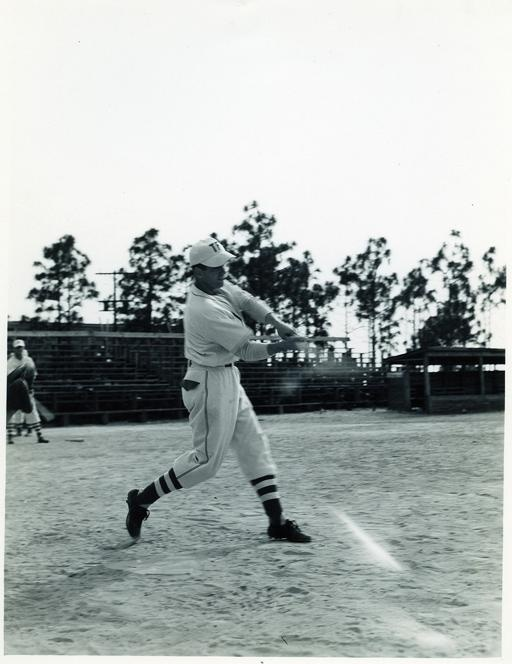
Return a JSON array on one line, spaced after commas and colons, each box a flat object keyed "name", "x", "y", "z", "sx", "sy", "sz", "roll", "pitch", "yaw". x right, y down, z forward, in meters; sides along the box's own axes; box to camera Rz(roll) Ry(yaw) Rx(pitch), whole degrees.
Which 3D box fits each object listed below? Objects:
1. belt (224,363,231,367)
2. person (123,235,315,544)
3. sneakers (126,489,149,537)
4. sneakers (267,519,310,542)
[{"name": "belt", "x": -0.166, "y": 0.202, "z": 5.045, "sx": 0.023, "sy": 0.020, "sz": 0.062, "roll": -2, "pitch": -1, "yaw": 26}, {"name": "person", "x": -0.198, "y": 0.340, "z": 5.113, "sx": 0.924, "sy": 1.349, "sz": 0.789, "roll": -1, "pitch": -1, "yaw": -31}, {"name": "sneakers", "x": -0.762, "y": 1.118, "z": 5.199, "sx": 0.176, "sy": 0.301, "sz": 0.118, "roll": 0, "pitch": -7, "yaw": 33}, {"name": "sneakers", "x": 0.192, "y": 1.211, "z": 5.138, "sx": 0.310, "sy": 0.114, "sz": 0.098, "roll": 0, "pitch": -4, "yaw": 10}]
